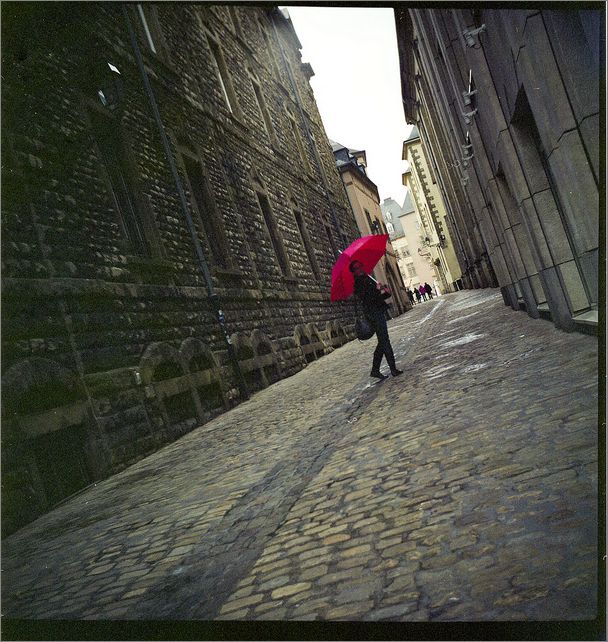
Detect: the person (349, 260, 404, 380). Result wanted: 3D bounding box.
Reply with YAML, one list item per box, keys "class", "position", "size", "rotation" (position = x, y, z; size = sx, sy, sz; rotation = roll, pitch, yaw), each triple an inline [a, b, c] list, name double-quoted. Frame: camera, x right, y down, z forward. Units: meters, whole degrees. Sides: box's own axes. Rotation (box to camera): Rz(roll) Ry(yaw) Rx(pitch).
- class: "person"
  position: [1.101, -0.061, 7.841]
  size: [0.636, 1.880, 0.953]
  rotation: [-17, -2, 9]
